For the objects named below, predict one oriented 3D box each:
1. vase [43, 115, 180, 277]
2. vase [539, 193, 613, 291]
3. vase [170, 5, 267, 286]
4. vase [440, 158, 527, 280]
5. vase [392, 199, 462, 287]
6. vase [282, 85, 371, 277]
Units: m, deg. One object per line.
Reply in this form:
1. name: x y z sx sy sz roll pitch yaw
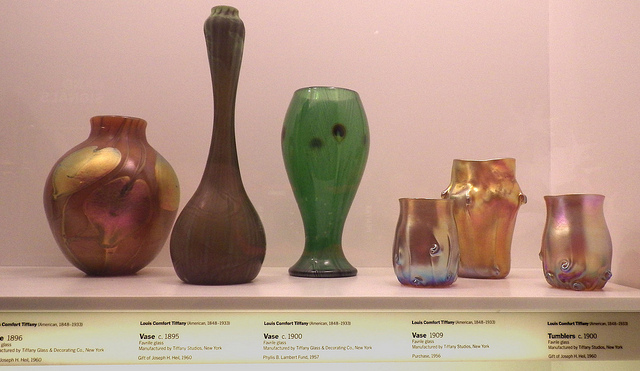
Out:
1. vase: -0.533 0.055 2.102 0.474 0.500 0.431 4 -5 -6
2. vase: 0.698 0.152 1.859 0.186 0.247 0.176 2 -1 13
3. vase: -0.282 -0.100 1.836 0.240 0.729 0.099 -1 3 -11
4. vase: 0.481 0.096 2.025 0.301 0.348 0.294 -2 -4 35
5. vase: 0.295 0.159 1.875 0.187 0.237 0.181 -4 -9 28
6. vase: 0.019 -0.012 1.953 0.250 0.547 0.096 -1 3 -3
